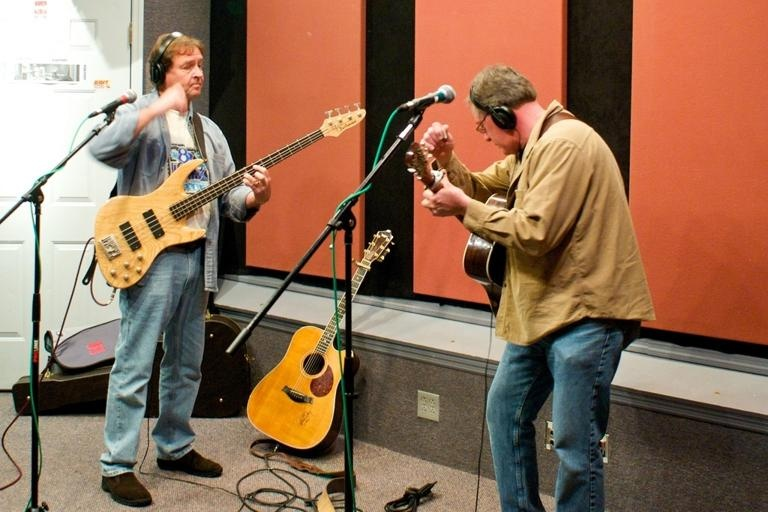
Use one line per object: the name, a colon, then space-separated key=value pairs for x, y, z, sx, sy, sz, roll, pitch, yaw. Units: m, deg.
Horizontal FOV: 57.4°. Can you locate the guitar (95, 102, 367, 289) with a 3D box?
guitar: x=-0.932 y=-0.252 z=3.609 sx=1.071 sy=0.869 sz=0.277 roll=4 pitch=13 yaw=-7

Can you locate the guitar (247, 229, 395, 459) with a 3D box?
guitar: x=-0.264 y=0.397 z=4.112 sx=0.588 sy=1.550 sz=0.229 roll=23 pitch=-4 yaw=22

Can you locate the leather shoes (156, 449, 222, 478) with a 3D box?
leather shoes: x=-1.029 y=1.139 z=3.850 sx=0.365 sy=0.175 sz=0.146 roll=6 pitch=0 yaw=-2

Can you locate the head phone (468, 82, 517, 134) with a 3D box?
head phone: x=0.467 y=-0.623 z=3.024 sx=0.186 sy=0.073 sz=0.145 roll=44 pitch=-16 yaw=-11

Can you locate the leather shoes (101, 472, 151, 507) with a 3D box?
leather shoes: x=-1.329 y=1.176 z=3.611 sx=0.265 sy=0.129 sz=0.131 roll=11 pitch=5 yaw=30
